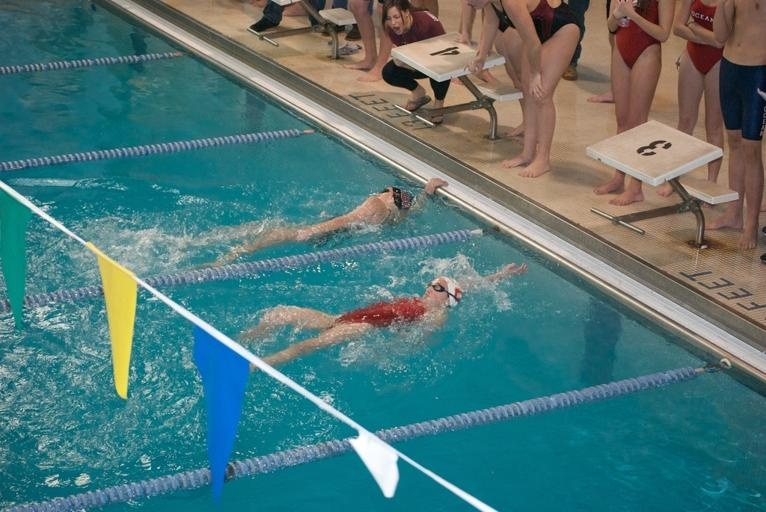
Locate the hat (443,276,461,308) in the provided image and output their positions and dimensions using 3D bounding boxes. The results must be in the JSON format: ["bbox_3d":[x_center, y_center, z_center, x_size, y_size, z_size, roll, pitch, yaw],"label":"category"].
[{"bbox_3d":[0.398,0.202,3.737,0.122,0.140,0.060,3,-20,-43],"label":"hat"}]

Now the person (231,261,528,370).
[{"bbox_3d":[0.049,0.308,3.599,1.678,0.294,0.411,-6,16,-12],"label":"person"}]

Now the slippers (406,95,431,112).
[{"bbox_3d":[0.317,-1.391,5.951,0.292,0.099,0.106,-18,28,-18],"label":"slippers"}]

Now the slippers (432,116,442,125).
[{"bbox_3d":[0.483,-1.196,5.742,0.099,0.029,0.055,-18,60,-34],"label":"slippers"}]

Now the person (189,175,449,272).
[{"bbox_3d":[-0.305,-0.211,4.516,2.141,0.443,0.425,-14,49,-22],"label":"person"}]

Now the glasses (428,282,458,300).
[{"bbox_3d":[0.350,0.200,3.732,0.123,0.033,0.101,17,4,-21],"label":"glasses"}]

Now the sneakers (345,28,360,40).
[{"bbox_3d":[-0.331,-2.526,7.405,0.098,0.152,0.258,12,23,40],"label":"sneakers"}]
